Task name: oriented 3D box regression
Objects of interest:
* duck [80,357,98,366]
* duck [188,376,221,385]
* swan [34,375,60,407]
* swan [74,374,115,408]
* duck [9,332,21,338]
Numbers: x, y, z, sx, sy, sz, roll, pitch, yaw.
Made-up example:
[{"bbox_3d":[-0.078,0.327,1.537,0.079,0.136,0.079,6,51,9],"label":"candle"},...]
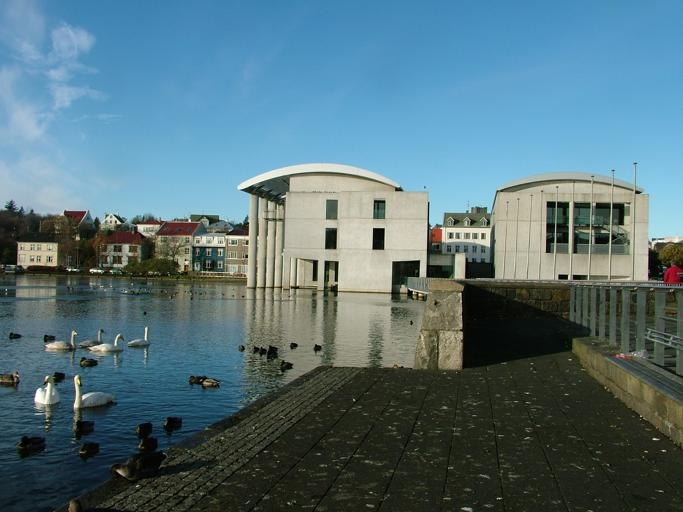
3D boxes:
[{"bbox_3d":[-7.387,3.079,19.015,0.492,0.290,0.257,-1,-10,19],"label":"duck"},{"bbox_3d":[-3.389,3.037,15.992,0.486,0.114,0.329,1,-3,7],"label":"duck"},{"bbox_3d":[-6.409,2.955,14.331,0.497,0.595,0.686,-1,-2,-38],"label":"swan"},{"bbox_3d":[-5.311,2.898,14.124,0.840,0.705,0.497,-1,-2,-21],"label":"swan"},{"bbox_3d":[-12.202,2.985,24.547,0.284,0.296,0.472,1,-4,1],"label":"duck"}]
